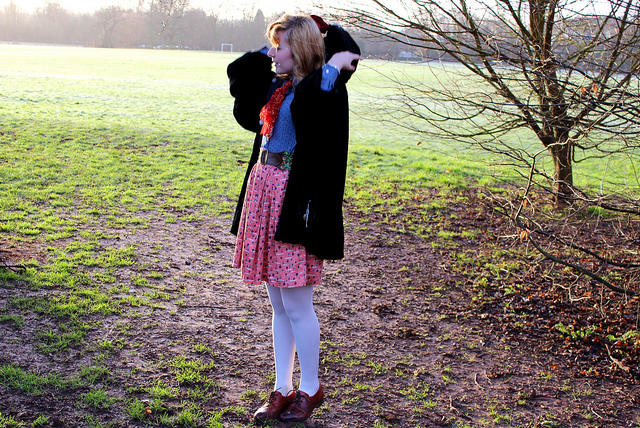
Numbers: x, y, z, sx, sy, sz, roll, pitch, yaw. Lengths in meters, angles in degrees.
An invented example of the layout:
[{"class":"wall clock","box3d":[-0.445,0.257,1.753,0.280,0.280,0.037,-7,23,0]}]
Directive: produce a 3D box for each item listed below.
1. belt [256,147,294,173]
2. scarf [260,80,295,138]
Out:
[{"class":"belt","box3d":[-0.551,-0.626,9.148,0.415,0.237,0.526,8,0,-20]},{"class":"scarf","box3d":[-0.523,-1.183,8.918,0.288,0.671,0.229,16,-2,45]}]
